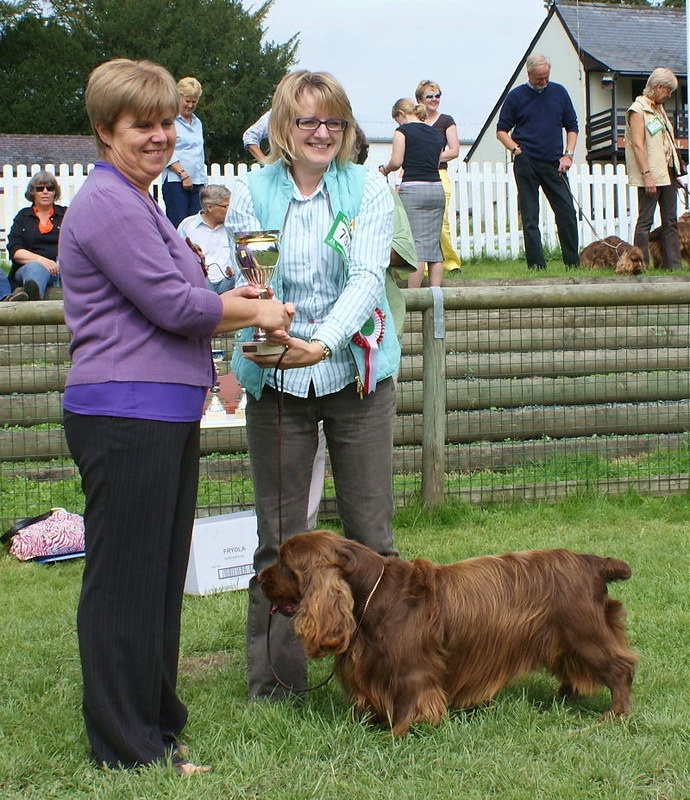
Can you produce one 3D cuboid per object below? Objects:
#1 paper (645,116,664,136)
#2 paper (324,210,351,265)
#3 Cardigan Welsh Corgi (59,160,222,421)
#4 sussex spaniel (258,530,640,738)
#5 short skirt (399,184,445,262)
[{"bbox_3d":[2.549,-2.292,10.371,0.182,0.145,0.069,-7,12,-32],"label":"paper"},{"bbox_3d":[-0.030,-0.552,4.242,0.017,0.139,0.135,2,-28,33],"label":"paper"},{"bbox_3d":[-0.600,-0.343,4.210,0.634,0.986,0.740,-1,1,-9],"label":"Cardigan Welsh Corgi"},{"bbox_3d":[0.287,0.799,4.739,1.228,0.702,1.234,6,13,-9],"label":"sussex spaniel"},{"bbox_3d":[0.519,-1.344,9.142,0.331,0.718,0.325,-4,13,-19],"label":"short skirt"}]
